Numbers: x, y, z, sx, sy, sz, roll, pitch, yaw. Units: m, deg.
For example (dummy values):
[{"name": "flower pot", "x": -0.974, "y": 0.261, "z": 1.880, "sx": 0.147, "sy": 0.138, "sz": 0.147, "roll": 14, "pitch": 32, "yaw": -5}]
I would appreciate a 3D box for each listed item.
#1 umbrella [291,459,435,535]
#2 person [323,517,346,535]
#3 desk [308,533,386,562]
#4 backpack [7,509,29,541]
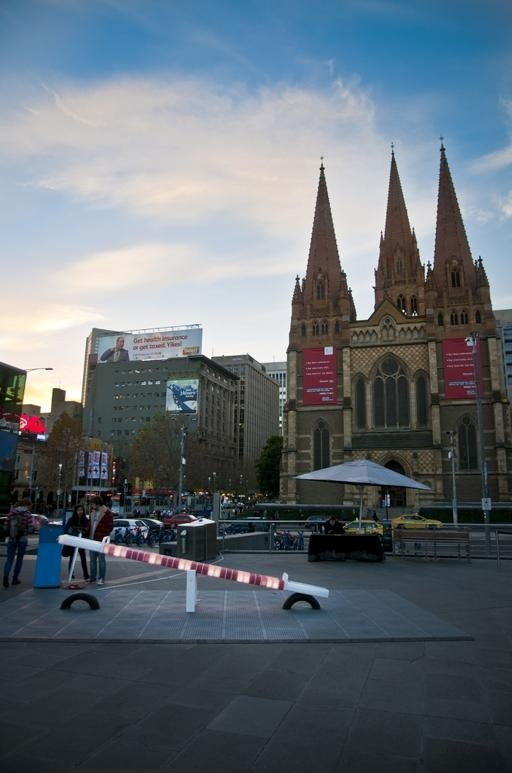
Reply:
[{"name": "umbrella", "x": 3.506, "y": 3.433, "z": 18.191, "sx": 3.036, "sy": 2.126, "sz": 3.695, "roll": -2, "pitch": -10, "yaw": 7}, {"name": "person", "x": 2.316, "y": 4.074, "z": 16.309, "sx": 0.577, "sy": 0.509, "sz": 0.714, "roll": -2, "pitch": -10, "yaw": 7}, {"name": "desk", "x": 2.595, "y": 4.651, "z": 16.030, "sx": 2.122, "sy": 0.767, "sz": 0.303, "roll": -1, "pitch": -11, "yaw": 3}, {"name": "backpack", "x": -4.461, "y": 2.589, "z": 10.495, "sx": 0.384, "sy": 0.603, "sz": 0.379, "roll": 7, "pitch": -13, "yaw": -34}]
